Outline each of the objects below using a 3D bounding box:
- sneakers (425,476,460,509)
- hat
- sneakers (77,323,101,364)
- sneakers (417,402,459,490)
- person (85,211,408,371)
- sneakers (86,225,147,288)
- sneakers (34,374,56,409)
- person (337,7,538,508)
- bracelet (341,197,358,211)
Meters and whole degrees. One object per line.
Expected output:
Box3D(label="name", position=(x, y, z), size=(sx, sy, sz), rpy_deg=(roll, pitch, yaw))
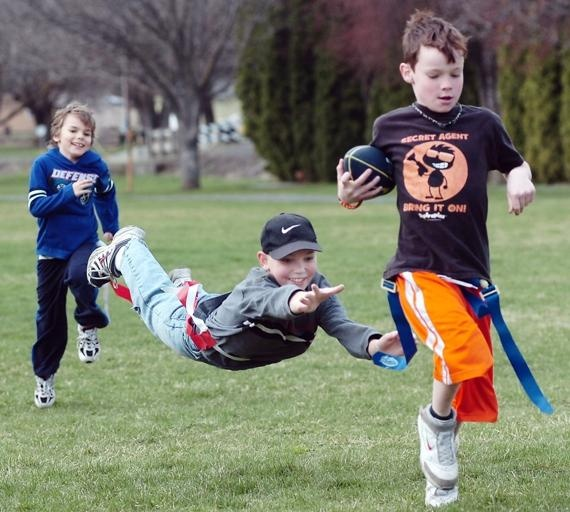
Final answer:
Box3D(label="sneakers", position=(0.729, 1.082, 4.345), size=(0.131, 0.134, 0.096), rpy_deg=(-5, -16, 37))
Box3D(label="hat", position=(0.015, -0.101, 4.527), size=(0.276, 0.218, 0.370), rpy_deg=(-8, 4, -26))
Box3D(label="sneakers", position=(-1.193, 0.543, 5.854), size=(0.097, 0.280, 0.120), rpy_deg=(-7, 7, -23))
Box3D(label="sneakers", position=(0.697, 0.861, 4.407), size=(0.137, 0.390, 0.163), rpy_deg=(-6, -11, -11))
Box3D(label="person", position=(-0.301, 0.164, 4.798), size=(0.683, 0.824, 1.922), rpy_deg=(-9, 14, -41))
Box3D(label="sneakers", position=(-0.948, 0.013, 5.327), size=(0.327, 0.119, 0.158), rpy_deg=(-48, 26, -3))
Box3D(label="sneakers", position=(-1.412, 0.797, 5.607), size=(0.078, 0.103, 0.231), rpy_deg=(4, 30, -16))
Box3D(label="person", position=(0.740, -0.032, 4.546), size=(0.724, 2.184, 0.732), rpy_deg=(-11, 14, -41))
Box3D(label="bracelet", position=(0.321, -0.247, 4.714), size=(0.059, 0.021, 0.058), rpy_deg=(10, 52, 7))
